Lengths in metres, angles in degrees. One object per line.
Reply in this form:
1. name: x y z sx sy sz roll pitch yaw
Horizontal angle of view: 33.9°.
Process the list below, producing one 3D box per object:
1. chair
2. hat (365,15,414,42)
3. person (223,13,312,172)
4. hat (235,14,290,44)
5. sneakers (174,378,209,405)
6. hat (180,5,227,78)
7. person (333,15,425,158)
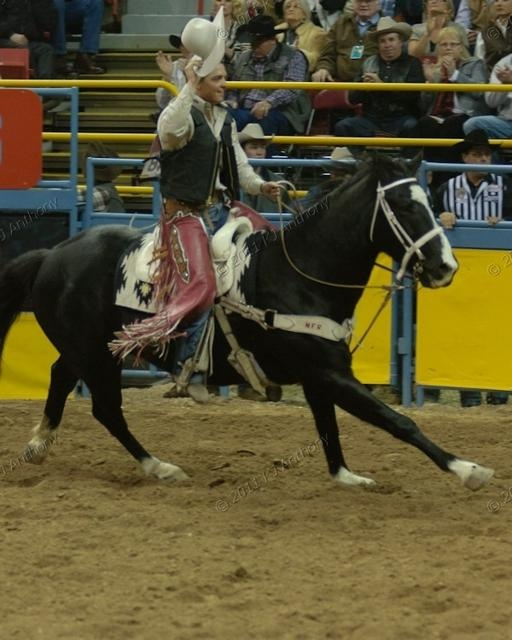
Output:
1. chair: 0.693 -1.881 8.599 0.471 0.705 0.443 18 37 0
2. hat: 1.418 -3.033 8.701 0.350 0.116 0.367 -17 -12 25
3. person: 0.064 -2.426 9.019 1.159 1.466 0.865 10 20 3
4. hat: -0.013 -2.992 8.905 0.568 0.190 0.376 -6 42 18
5. sneakers: -0.349 0.393 4.610 0.174 0.078 0.139 34 27 19
6. hat: -0.197 -1.431 4.387 0.174 0.352 0.284 7 15 -41
7. person: 1.295 -2.331 8.365 0.983 1.185 0.862 -20 29 -27
